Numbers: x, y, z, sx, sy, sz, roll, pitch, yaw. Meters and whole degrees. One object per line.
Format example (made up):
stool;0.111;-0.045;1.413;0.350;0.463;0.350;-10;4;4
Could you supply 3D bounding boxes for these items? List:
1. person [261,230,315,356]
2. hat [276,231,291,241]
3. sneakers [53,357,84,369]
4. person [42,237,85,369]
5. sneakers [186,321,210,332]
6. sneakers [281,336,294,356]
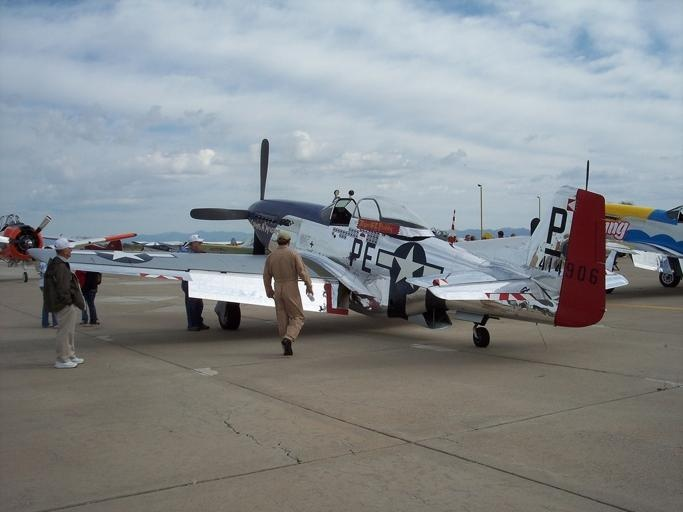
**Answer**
person;-0.814;0.582;8.366;0.595;1.906;0.728;-2;3;-36
hat;-0.919;-0.309;8.570;0.244;0.126;0.295;1;5;2
sneakers;-3.785;1.474;7.352;0.353;0.117;0.281;-1;2;-23
person;-3.948;0.639;7.561;0.518;1.775;0.851;-1;3;-27
sneakers;-2.882;1.445;10.704;0.486;0.258;0.142;-1;0;3
sneakers;-0.814;1.444;8.212;0.146;0.133;0.337;0;-29;9
